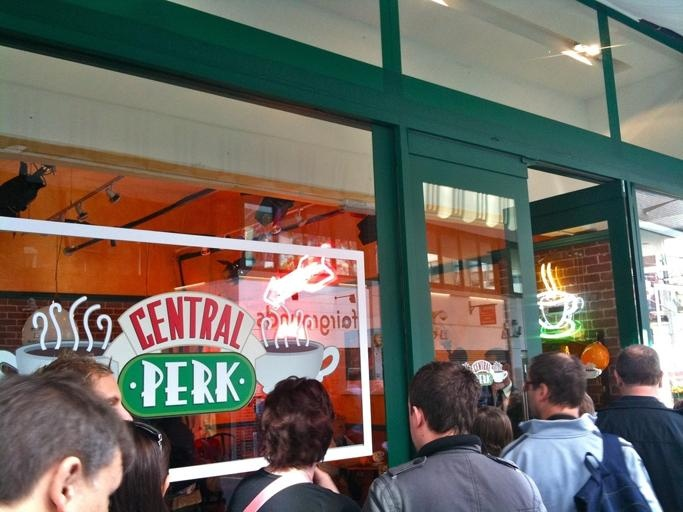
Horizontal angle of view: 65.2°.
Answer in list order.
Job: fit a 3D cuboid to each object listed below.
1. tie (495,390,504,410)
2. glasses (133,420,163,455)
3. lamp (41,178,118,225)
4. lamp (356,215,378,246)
[{"bbox_3d":[0.967,0.879,3.277,0.029,0.102,0.079,-5,1,39],"label":"tie"},{"bbox_3d":[-0.664,0.617,1.832,0.088,0.112,0.264,0,-14,-15],"label":"glasses"},{"bbox_3d":[-1.184,-0.303,2.638,0.594,0.079,0.062,-37,-12,-43],"label":"lamp"},{"bbox_3d":[0.149,-0.156,3.249,0.114,0.210,0.083,-3,-14,-4],"label":"lamp"}]
